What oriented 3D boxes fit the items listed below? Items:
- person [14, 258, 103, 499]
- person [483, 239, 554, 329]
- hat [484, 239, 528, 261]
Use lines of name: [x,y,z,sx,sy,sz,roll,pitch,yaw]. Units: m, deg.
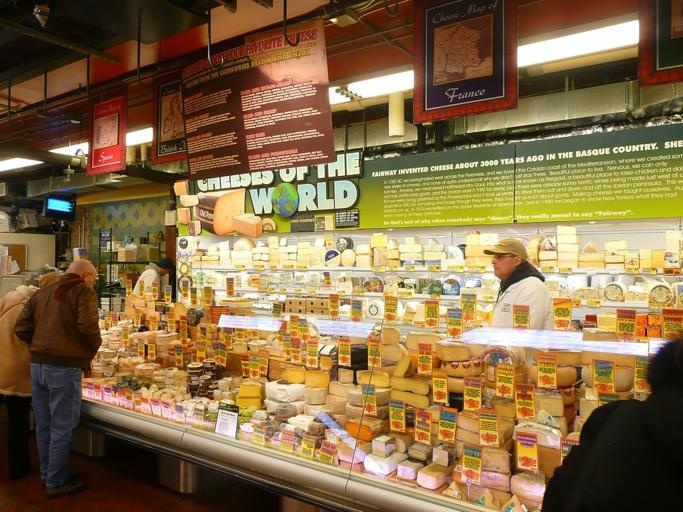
person: [-2.297,0.924,4.423,0.660,1.862,0.685,0,1,32]
person: [1.320,0.219,3.862,0.473,0.812,0.447,4,5,39]
hat: [1.338,-0.048,4.130,0.292,0.151,0.193,3,-6,2]
